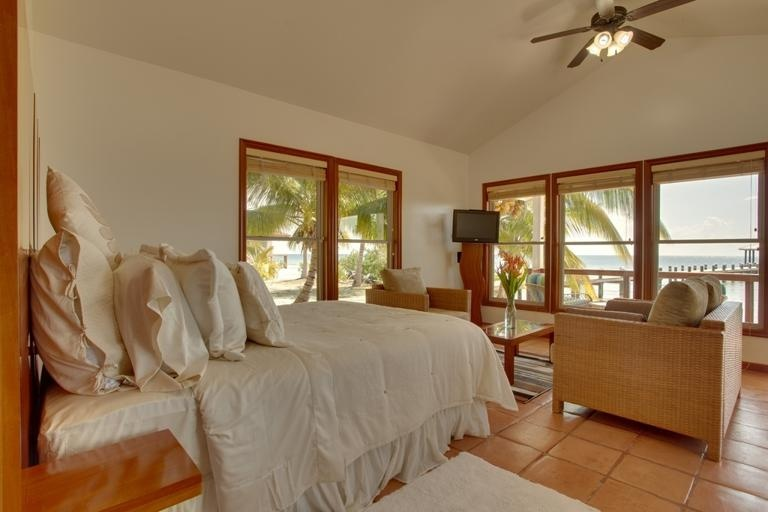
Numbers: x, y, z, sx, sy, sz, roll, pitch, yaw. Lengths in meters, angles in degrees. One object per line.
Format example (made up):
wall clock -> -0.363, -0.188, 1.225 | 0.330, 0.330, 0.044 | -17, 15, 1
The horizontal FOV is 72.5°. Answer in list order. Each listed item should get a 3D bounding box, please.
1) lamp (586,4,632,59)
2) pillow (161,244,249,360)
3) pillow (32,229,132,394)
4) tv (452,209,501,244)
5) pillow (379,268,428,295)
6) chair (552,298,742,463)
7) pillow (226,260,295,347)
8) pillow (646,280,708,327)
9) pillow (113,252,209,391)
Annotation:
lamp -> 2.256, -2.142, 5.152 | 0.494, 0.269, 0.512 | -7, 10, -30
pillow -> -1.264, 0.312, 3.808 | 0.558, 0.976, 1.162 | -6, 5, -26
pillow -> -1.838, 0.152, 3.216 | 0.549, 0.680, 0.198 | -8, -23, -33
tv -> 1.366, -0.486, 7.705 | 0.656, 0.559, 0.337 | 3, 25, 12
pillow -> 0.228, 0.231, 6.305 | 0.570, 0.291, 0.459 | -3, 21, -21
chair -> 2.338, 0.994, 4.588 | 1.057, 0.925, 1.584 | 0, -3, 39
pillow -> -0.931, 0.377, 3.886 | 0.448, 0.624, 0.829 | 0, -2, -21
pillow -> 2.481, 0.386, 4.315 | 0.520, 0.377, 0.295 | 0, 0, -18
pillow -> -1.534, 0.374, 3.520 | 0.482, 0.728, 0.945 | -3, 13, -27
